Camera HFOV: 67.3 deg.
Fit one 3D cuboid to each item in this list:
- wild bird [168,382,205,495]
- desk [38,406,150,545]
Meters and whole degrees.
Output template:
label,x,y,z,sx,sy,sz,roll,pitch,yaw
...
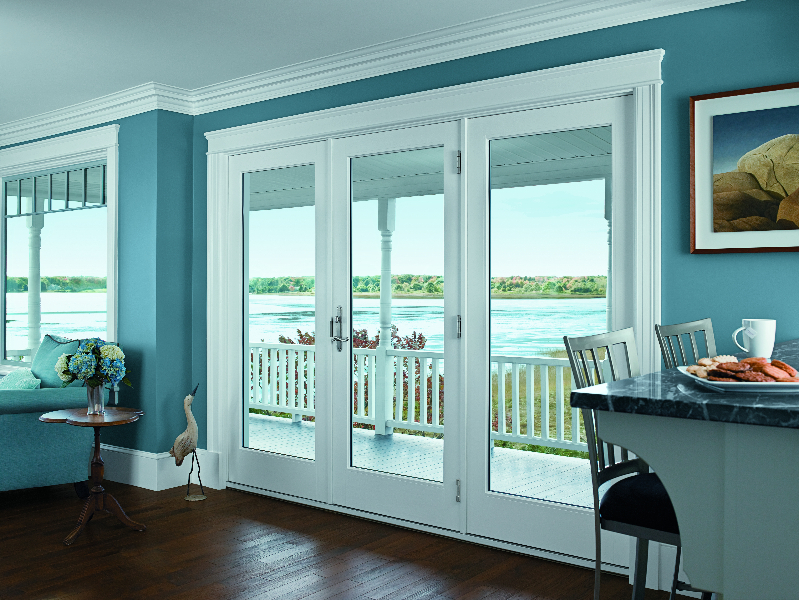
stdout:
label,x,y,z,sx,sy,sz,roll,pitch,yaw
wild bird,-1.561,1.047,4.441,0.259,0.807,0.628,-7,14,-19
desk,-1.936,1.079,3.908,0.556,0.826,0.996,-9,15,-30
